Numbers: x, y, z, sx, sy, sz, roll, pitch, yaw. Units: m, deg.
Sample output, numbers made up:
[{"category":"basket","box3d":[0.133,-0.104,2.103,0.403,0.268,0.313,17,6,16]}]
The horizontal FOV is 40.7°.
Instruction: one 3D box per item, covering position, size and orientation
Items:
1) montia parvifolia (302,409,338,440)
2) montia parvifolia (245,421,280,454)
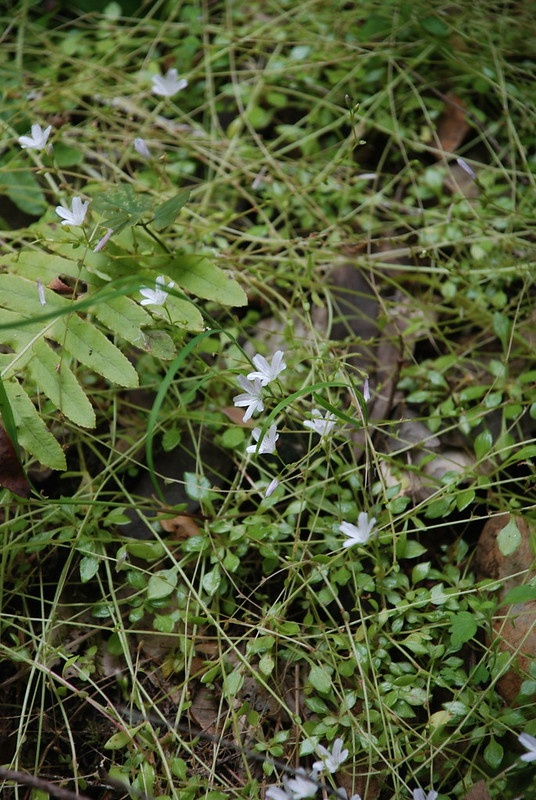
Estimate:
[{"category":"montia parvifolia","box3d":[0.115,0.047,1.545,0.069,0.041,0.068,0,37,10]},{"category":"montia parvifolia","box3d":[-0.014,0.085,1.495,0.046,0.071,0.062,12,51,-16]}]
